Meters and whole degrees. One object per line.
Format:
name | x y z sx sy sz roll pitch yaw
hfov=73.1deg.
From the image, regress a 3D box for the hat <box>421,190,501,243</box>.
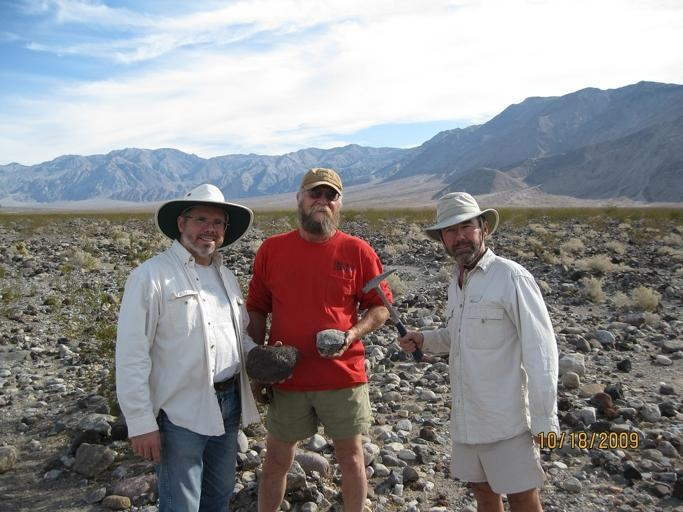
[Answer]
hat | 1.340 -0.476 5.253 0.815 0.456 0.776 -3 -15 -26
